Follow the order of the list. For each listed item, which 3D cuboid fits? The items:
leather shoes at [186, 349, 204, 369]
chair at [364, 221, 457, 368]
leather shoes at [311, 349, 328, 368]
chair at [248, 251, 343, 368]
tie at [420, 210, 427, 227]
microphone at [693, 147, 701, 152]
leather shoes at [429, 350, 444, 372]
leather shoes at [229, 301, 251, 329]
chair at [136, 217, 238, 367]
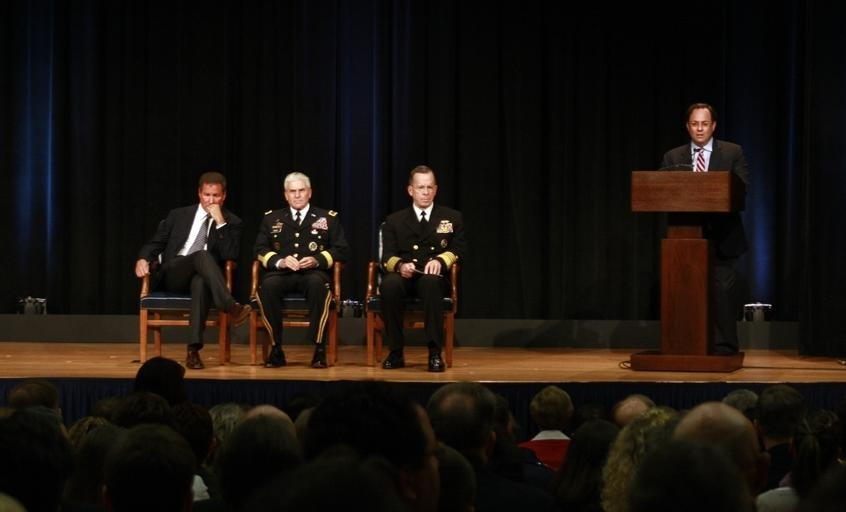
[{"bbox_3d":[-1.638,0.753,6.241,0.085,0.092,0.237,2,-8,-16],"label":"leather shoes"},{"bbox_3d":[-0.060,0.330,6.645,0.711,0.935,0.589,1,-9,-5],"label":"chair"},{"bbox_3d":[-0.742,0.739,6.212,0.103,0.106,0.276,0,-7,-3],"label":"leather shoes"},{"bbox_3d":[-0.925,0.429,6.376,0.666,1.053,0.787,0,-24,-1],"label":"chair"},{"bbox_3d":[0.001,-0.285,6.735,0.068,0.107,0.027,2,-10,-3],"label":"tie"},{"bbox_3d":[1.980,-0.767,6.238,0.041,0.038,0.009,3,-2,2],"label":"microphone"},{"bbox_3d":[0.091,0.744,6.105,0.122,0.116,0.279,0,-6,-3],"label":"leather shoes"},{"bbox_3d":[-1.348,0.425,6.371,0.160,0.160,0.218,2,-6,-26],"label":"leather shoes"},{"bbox_3d":[-1.767,0.197,6.605,0.747,1.294,1.015,3,-6,-31],"label":"chair"}]
